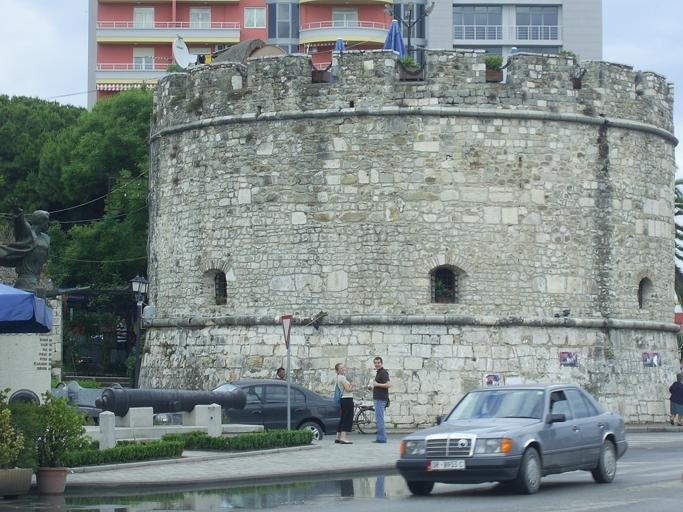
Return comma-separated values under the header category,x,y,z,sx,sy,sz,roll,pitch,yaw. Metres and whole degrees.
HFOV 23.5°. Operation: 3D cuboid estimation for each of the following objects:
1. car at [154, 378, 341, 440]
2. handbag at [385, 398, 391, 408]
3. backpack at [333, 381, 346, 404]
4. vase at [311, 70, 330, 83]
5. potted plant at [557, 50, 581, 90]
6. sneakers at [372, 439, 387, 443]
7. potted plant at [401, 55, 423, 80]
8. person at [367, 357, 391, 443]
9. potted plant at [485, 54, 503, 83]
category,x,y,z,sx,sy,sz,roll,pitch,yaw
car,-2.642,4.683,49.287,4.869,1.607,2.048,4,-7,-18
handbag,1.353,4.297,48.595,0.269,0.346,0.361,0,-12,-2
backpack,-0.105,4.053,48.929,0.194,0.543,0.390,6,0,2
vase,-0.662,-5.848,53.309,0.639,0.474,0.383,-3,-2,3
potted plant,7.522,-5.999,53.507,0.423,0.889,0.843,-5,-2,42
sneakers,1.087,5.404,48.241,0.441,0.189,0.137,3,-1,21
potted plant,2.253,-6.122,53.325,0.787,0.514,0.779,0,17,-2
person,1.156,4.201,48.493,0.541,1.673,1.056,-3,-2,1
potted plant,4.956,-6.091,53.401,0.426,0.652,0.902,-4,-2,32
